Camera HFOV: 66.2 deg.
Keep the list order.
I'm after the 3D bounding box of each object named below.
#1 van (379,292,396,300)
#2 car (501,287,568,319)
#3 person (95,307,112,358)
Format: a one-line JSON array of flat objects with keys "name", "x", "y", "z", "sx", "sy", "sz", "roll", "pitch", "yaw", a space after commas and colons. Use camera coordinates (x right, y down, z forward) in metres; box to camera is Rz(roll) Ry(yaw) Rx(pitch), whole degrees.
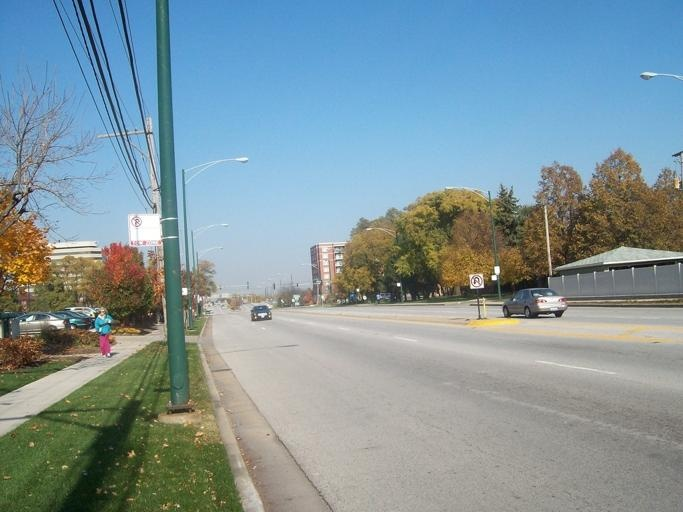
[{"name": "van", "x": 9.997, "y": 8.755, "z": 115.187, "sx": 2.029, "sy": 1.354, "sz": 1.419, "roll": -8, "pitch": -6, "yaw": 22}, {"name": "car", "x": 10.824, "y": 2.658, "z": 29.411, "sx": 1.591, "sy": 1.147, "sz": 3.250, "roll": 0, "pitch": -8, "yaw": -42}, {"name": "person", "x": -9.010, "y": 2.872, "z": 19.840, "sx": 0.545, "sy": 1.900, "sz": 1.422, "roll": -2, "pitch": -5, "yaw": -24}]
